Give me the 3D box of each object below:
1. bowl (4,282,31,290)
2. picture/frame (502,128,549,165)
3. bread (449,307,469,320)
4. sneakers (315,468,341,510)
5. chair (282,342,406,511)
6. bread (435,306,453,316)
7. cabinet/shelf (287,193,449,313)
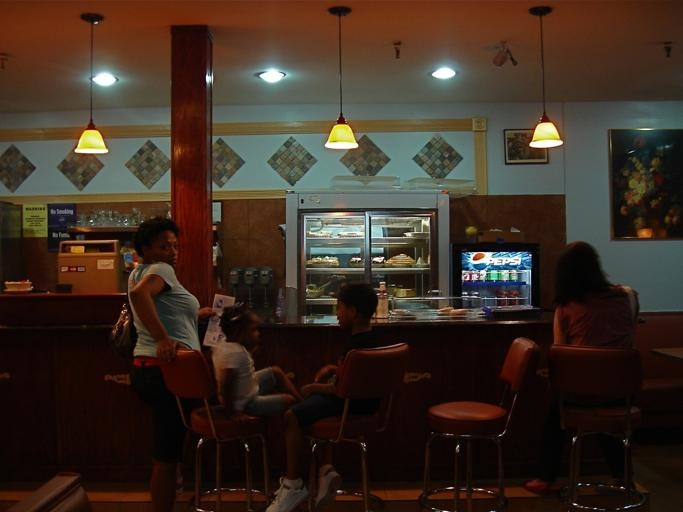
[{"bbox_3d":[-2.473,0.231,5.059,0.133,0.046,0.125,-2,-1,0],"label":"bowl"},{"bbox_3d":[2.054,-1.235,7.501,0.582,0.441,0.052,0,2,0],"label":"picture/frame"},{"bbox_3d":[0.961,0.474,5.417,0.153,0.059,0.376,0,0,9],"label":"bread"},{"bbox_3d":[-0.091,1.517,4.328,0.162,0.294,0.119,0,0,7],"label":"sneakers"},{"bbox_3d":[0.079,1.203,4.550,0.635,1.249,0.762,0,0,-9],"label":"chair"},{"bbox_3d":[0.883,0.477,5.724,0.161,0.061,0.183,-4,1,-3],"label":"bread"},{"bbox_3d":[0.260,-0.048,7.119,1.486,1.266,0.496,0,-3,0],"label":"cabinet/shelf"}]
